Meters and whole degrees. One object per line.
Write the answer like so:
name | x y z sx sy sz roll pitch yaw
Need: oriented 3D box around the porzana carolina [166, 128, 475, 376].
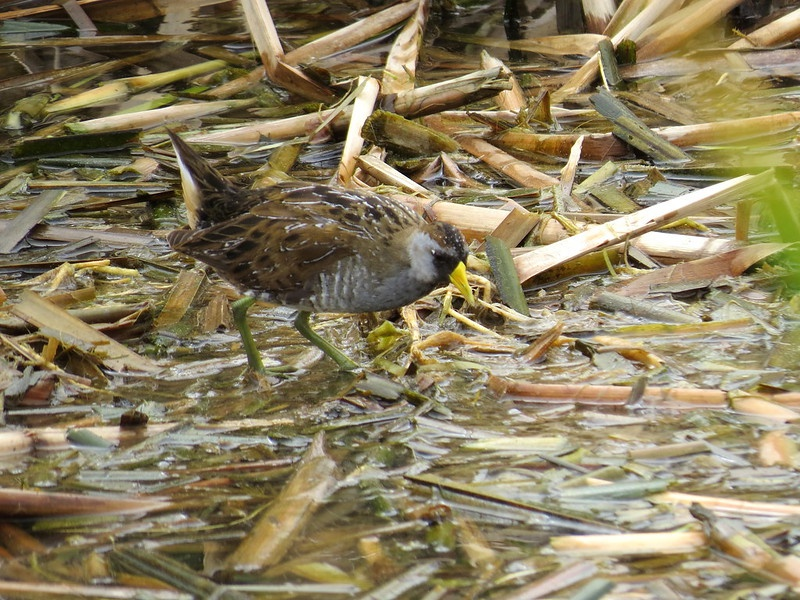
porzana carolina | -0.450 -0.243 3.994 1.098 0.409 1.398 -41 80 -9
